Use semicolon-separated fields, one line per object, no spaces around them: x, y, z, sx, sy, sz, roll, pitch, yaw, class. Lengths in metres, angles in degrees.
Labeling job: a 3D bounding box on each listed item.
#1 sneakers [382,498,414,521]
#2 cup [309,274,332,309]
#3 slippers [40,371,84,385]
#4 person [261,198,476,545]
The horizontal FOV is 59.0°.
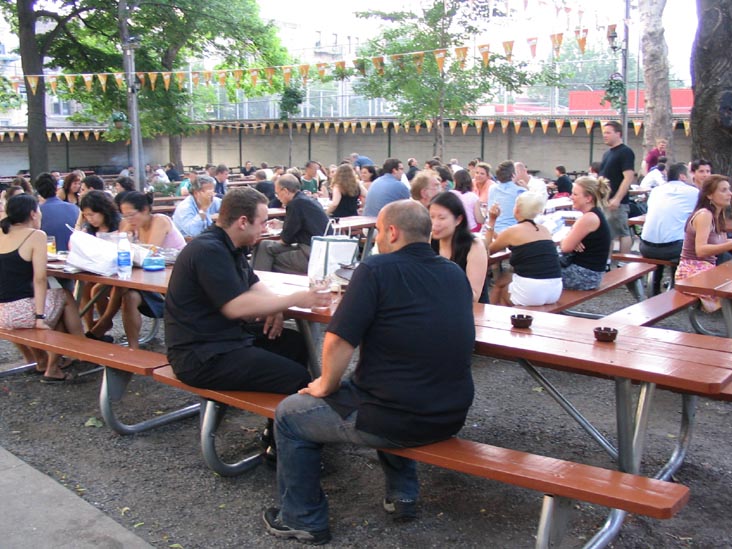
0.199;1.367;3.769;0.087;0.077;0.198;0;2;-17;sneakers
-0.285;0.104;4.202;0.131;0.190;0.214;-7;-8;44;cup
-2.688;0.915;5.729;0.386;0.091;0.140;0;4;-27;slippers
0.015;0.547;3.551;1.137;1.832;0.492;-1;13;8;person
